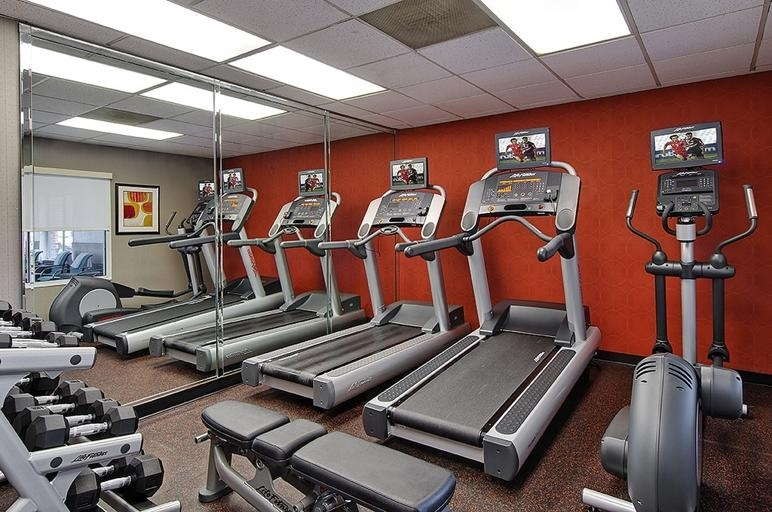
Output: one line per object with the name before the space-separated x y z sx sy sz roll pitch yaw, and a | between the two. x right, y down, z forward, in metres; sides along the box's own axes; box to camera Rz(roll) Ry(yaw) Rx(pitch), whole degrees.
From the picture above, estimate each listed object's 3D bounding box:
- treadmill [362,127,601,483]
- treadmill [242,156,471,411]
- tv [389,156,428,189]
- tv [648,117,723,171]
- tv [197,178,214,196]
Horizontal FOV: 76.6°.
treadmill | 0.958 0.139 4.381 1.384 2.295 2.561 2 14 34
treadmill | -0.241 0.079 5.202 1.280 2.111 2.404 4 10 39
tv | 0.265 -0.925 5.509 0.556 0.407 0.077 0 -1 28
tv | 2.675 -0.979 4.403 0.568 0.412 0.051 2 31 45
tv | -1.793 -0.686 4.866 0.190 0.181 0.026 2 4 25
